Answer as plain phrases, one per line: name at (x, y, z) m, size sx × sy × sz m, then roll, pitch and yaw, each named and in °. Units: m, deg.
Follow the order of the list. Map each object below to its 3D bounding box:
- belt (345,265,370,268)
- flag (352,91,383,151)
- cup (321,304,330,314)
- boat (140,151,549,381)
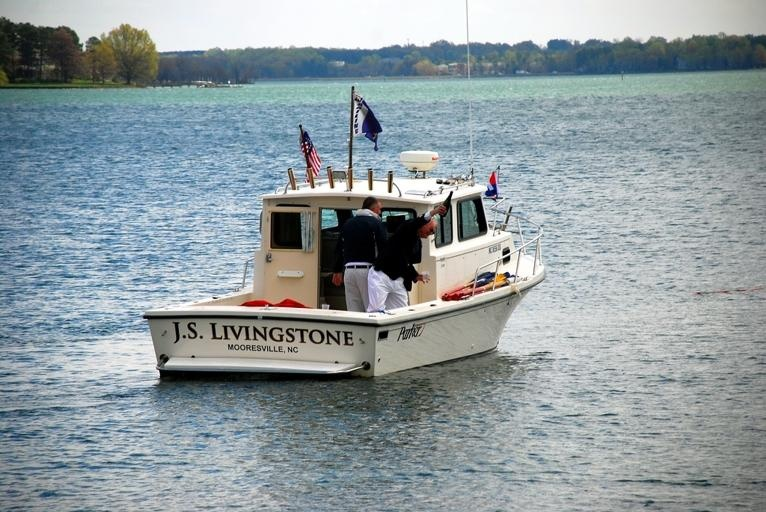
belt at (-0.623, 0.230, 37.856) m, size 0.581 × 0.139 × 0.060 m, roll -1°, pitch 15°, yaw 4°
flag at (-0.380, -3.734, 40.111) m, size 0.525 × 1.221 × 1.560 m, roll 10°, pitch 14°, yaw 27°
cup at (-1.445, 1.295, 38.385) m, size 0.221 × 0.165 × 0.338 m, roll -1°, pitch 0°, yaw -1°
boat at (-1.143, 0.602, 38.123) m, size 5.218 × 3.303 × 9.660 m, roll 7°, pitch 12°, yaw 40°
